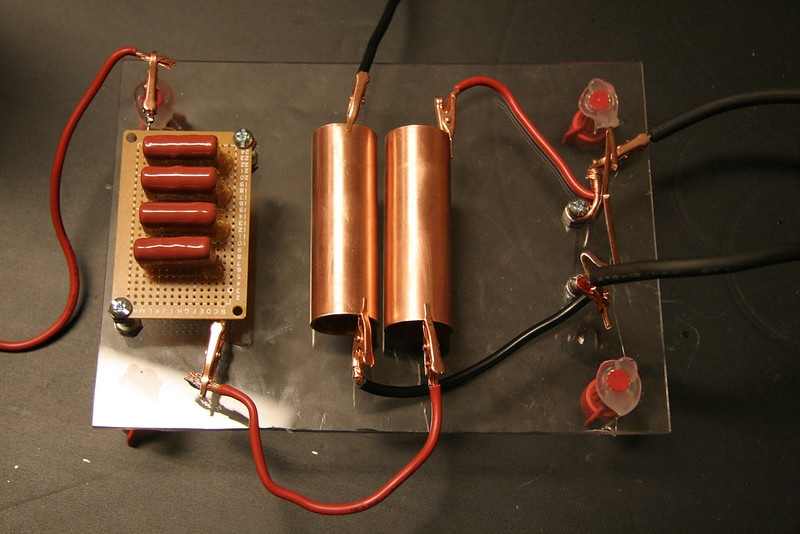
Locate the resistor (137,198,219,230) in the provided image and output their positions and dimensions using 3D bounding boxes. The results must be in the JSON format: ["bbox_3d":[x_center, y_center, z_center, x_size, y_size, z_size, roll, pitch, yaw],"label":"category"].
[{"bbox_3d":[-0.629,-0.149,2.515,0.232,0.083,0.082,0,-3,0],"label":"resistor"}]

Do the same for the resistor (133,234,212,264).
[{"bbox_3d":[-0.636,-0.051,2.541,0.240,0.094,0.082,-1,-13,0],"label":"resistor"}]

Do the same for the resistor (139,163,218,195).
[{"bbox_3d":[-0.627,-0.253,2.530,0.195,0.091,0.088,2,4,0],"label":"resistor"}]

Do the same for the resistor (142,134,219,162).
[{"bbox_3d":[-0.631,-0.343,2.549,0.177,0.091,0.060,2,-2,0],"label":"resistor"}]
